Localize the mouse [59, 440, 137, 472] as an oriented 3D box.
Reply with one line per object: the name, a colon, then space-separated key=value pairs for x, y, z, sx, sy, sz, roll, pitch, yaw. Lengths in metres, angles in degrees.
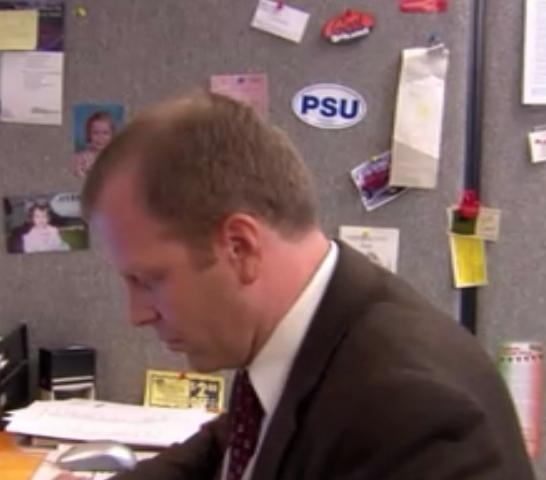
mouse: x=-0.235 y=0.292 z=0.842 sx=0.081 sy=0.047 sz=0.025 roll=1 pitch=89 yaw=0
